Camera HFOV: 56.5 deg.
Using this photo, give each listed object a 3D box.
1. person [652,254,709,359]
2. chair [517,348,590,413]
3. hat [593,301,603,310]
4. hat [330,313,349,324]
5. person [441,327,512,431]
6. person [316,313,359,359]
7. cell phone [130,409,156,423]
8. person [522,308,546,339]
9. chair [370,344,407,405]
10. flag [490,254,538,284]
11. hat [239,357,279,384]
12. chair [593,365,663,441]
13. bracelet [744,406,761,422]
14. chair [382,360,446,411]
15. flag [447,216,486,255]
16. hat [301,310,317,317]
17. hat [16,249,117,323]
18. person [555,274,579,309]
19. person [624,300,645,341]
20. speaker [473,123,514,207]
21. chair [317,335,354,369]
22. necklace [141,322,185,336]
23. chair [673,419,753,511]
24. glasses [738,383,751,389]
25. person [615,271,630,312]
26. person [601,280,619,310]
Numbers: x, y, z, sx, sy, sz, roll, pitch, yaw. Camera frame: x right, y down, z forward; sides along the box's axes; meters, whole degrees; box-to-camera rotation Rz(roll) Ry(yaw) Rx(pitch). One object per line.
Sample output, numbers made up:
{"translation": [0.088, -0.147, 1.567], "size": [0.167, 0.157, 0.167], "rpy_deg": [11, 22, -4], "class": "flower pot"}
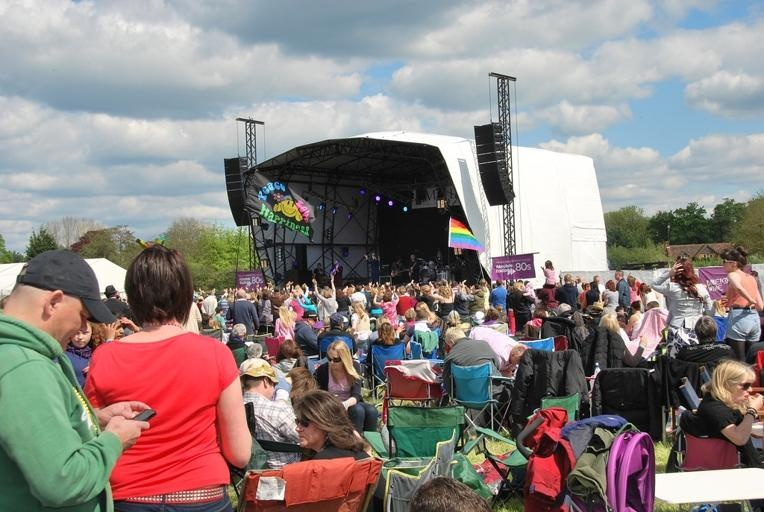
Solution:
{"translation": [3.801, 0.953, 8.959], "size": [0.627, 1.803, 0.642], "rpy_deg": [-3, -3, 25], "class": "person"}
{"translation": [1.770, 1.319, 7.463], "size": [0.795, 0.738, 0.328], "rpy_deg": [-3, -33, 14], "class": "chair"}
{"translation": [3.209, 0.733, 10.580], "size": [0.138, 0.111, 0.321], "rpy_deg": [3, 0, 14], "class": "hat"}
{"translation": [-0.649, 0.969, 10.677], "size": [0.186, 0.121, 0.295], "rpy_deg": [4, 4, 24], "class": "hat"}
{"translation": [1.028, 1.349, 8.448], "size": [0.692, 1.164, 0.636], "rpy_deg": [-12, 0, -28], "class": "person"}
{"translation": [-0.671, 1.112, 10.111], "size": [0.592, 1.033, 0.558], "rpy_deg": [1, -7, 3], "class": "person"}
{"translation": [-1.267, 0.835, 3.770], "size": [0.104, 0.030, 0.052], "rpy_deg": [-13, 41, -14], "class": "cell phone"}
{"translation": [2.216, 0.965, 10.316], "size": [0.261, 0.415, 0.960], "rpy_deg": [3, 0, 15], "class": "person"}
{"translation": [0.088, 1.572, 9.542], "size": [0.634, 0.798, 0.650], "rpy_deg": [-4, 1, 18], "class": "chair"}
{"translation": [3.397, 0.274, 18.438], "size": [0.691, 0.694, 1.259], "rpy_deg": [3, 0, -23], "class": "flag"}
{"translation": [-1.087, 0.979, 6.210], "size": [0.276, 0.125, 0.305], "rpy_deg": [6, -6, -11], "class": "hat"}
{"translation": [2.568, 1.470, 7.531], "size": [0.654, 0.952, 0.727], "rpy_deg": [0, -1, 17], "class": "chair"}
{"translation": [2.925, 1.237, 5.634], "size": [0.070, 0.138, 0.122], "rpy_deg": [-48, 3, -21], "class": "bracelet"}
{"translation": [0.361, 1.495, 8.571], "size": [0.618, 0.683, 0.623], "rpy_deg": [-1, -1, 10], "class": "chair"}
{"translation": [2.705, -0.667, 22.455], "size": [1.208, 1.186, 0.124], "rpy_deg": [19, -35, -30], "class": "flag"}
{"translation": [-1.133, 0.909, 11.133], "size": [0.172, 0.060, 0.179], "rpy_deg": [3, 2, 40], "class": "hat"}
{"translation": [-1.606, 0.138, 3.717], "size": [0.463, 0.316, 0.323], "rpy_deg": [21, -8, -25], "class": "hat"}
{"translation": [3.776, 0.721, 14.393], "size": [0.399, 0.801, 0.486], "rpy_deg": [14, 40, 31], "class": "person"}
{"translation": [3.657, 0.787, 10.167], "size": [0.222, 0.283, 0.810], "rpy_deg": [-6, 26, 11], "class": "person"}
{"translation": [3.409, -2.848, 21.937], "size": [1.291, 2.338, 0.649], "rpy_deg": [3, 1, -23], "class": "speaker"}
{"translation": [-0.648, 1.400, 9.823], "size": [0.602, 0.644, 0.506], "rpy_deg": [0, 0, 2], "class": "chair"}
{"translation": [-1.223, 0.409, 3.935], "size": [0.116, 0.040, 0.141], "rpy_deg": [5, 17, -3], "class": "necklace"}
{"translation": [2.679, 1.695, 5.916], "size": [0.425, 0.624, 0.391], "rpy_deg": [2, 0, -41], "class": "chair"}
{"translation": [2.928, 1.046, 5.742], "size": [0.081, 0.030, 0.089], "rpy_deg": [6, -21, -3], "class": "glasses"}
{"translation": [5.148, 0.850, 15.164], "size": [0.300, 1.002, 0.340], "rpy_deg": [-5, 2, 44], "class": "person"}
{"translation": [4.637, 0.777, 14.444], "size": [0.322, 0.608, 1.175], "rpy_deg": [3, 0, 19], "class": "person"}
